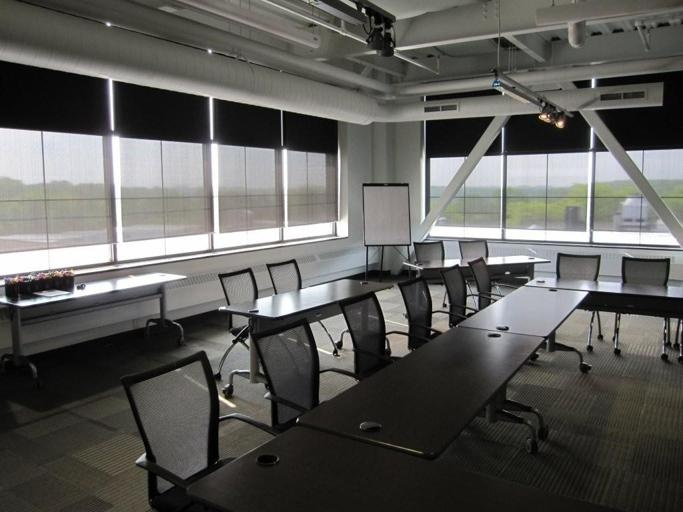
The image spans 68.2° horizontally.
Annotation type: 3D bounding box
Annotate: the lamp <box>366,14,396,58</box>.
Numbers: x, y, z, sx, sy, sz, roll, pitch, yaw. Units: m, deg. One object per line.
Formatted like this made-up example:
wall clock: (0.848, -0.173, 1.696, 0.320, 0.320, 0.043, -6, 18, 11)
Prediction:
lamp: (0.425, -2.428, 5.682, 0.297, 0.390, 0.663, 0, 12, 3)

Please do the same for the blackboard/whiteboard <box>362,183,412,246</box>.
blackboard/whiteboard: (0.983, -0.884, 11.097, 1.348, 1.671, 0.171, -1, 2, -12)
